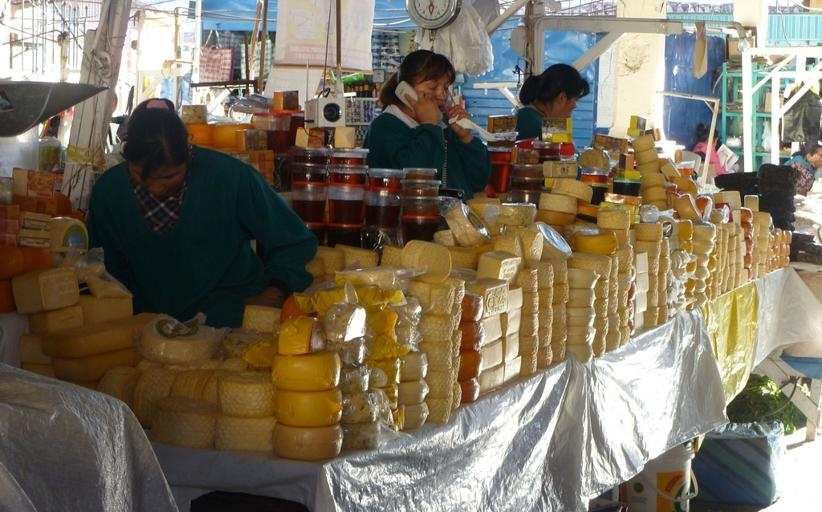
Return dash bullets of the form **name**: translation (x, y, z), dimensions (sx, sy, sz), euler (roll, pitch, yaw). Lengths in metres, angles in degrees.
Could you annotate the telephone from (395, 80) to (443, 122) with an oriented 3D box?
- **telephone**: translation (0.028, -0.827, 3.977), dimensions (0.072, 0.223, 0.228), euler (-38, -1, 20)
